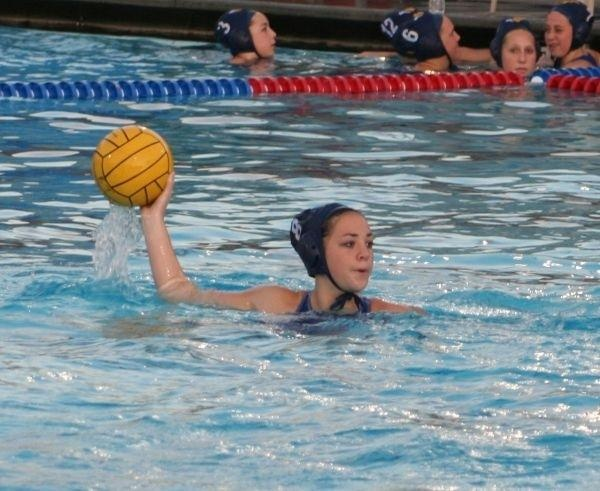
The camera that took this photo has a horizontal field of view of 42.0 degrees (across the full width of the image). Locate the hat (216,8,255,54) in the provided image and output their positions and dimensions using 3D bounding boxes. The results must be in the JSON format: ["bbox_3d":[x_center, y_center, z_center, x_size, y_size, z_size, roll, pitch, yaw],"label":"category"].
[{"bbox_3d":[-0.722,-2.540,9.213,0.641,0.528,0.462,11,28,14],"label":"hat"}]
